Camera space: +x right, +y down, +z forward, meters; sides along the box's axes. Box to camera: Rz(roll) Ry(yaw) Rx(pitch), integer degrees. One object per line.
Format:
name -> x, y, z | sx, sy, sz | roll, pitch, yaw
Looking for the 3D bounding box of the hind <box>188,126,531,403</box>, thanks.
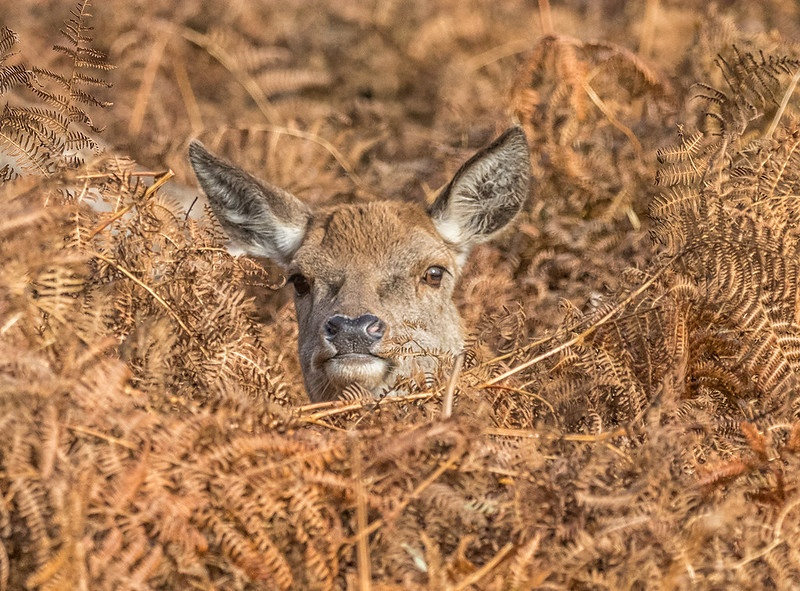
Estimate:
hind -> -0.222, -0.249, 8.461 | 2.246, 2.435, 1.655 | -2, 82, -1
